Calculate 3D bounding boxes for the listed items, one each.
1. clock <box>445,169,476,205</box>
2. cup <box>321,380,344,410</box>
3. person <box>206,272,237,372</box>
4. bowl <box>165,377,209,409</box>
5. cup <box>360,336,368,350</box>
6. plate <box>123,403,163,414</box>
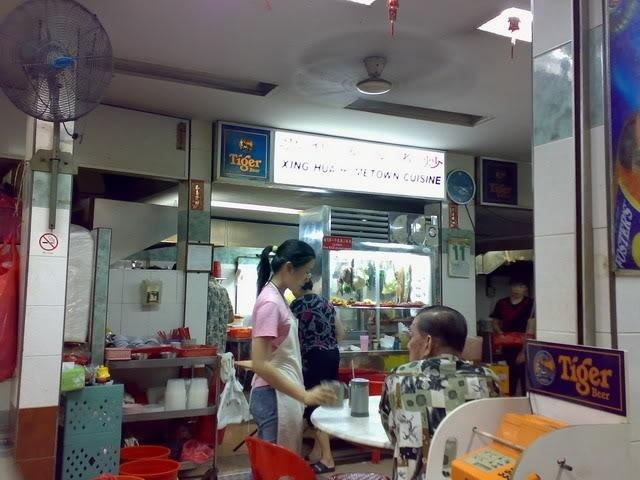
[{"bbox_3d":[2.025,-0.769,7.408,0.499,0.484,0.119,2,-7,-24],"label":"clock"},{"bbox_3d":[0.108,0.957,3.137,0.141,0.167,0.226,-7,-12,39],"label":"cup"},{"bbox_3d":[-1.256,0.926,6.227,0.262,0.873,0.455,1,-6,-9],"label":"person"},{"bbox_3d":[-1.236,1.421,4.732,0.402,0.303,0.221,3,-5,-21],"label":"bowl"},{"bbox_3d":[0.546,1.309,6.352,0.096,0.188,0.189,0,-6,0],"label":"cup"},{"bbox_3d":[-1.568,1.492,4.508,0.348,0.073,0.288,2,-6,-21],"label":"plate"}]
